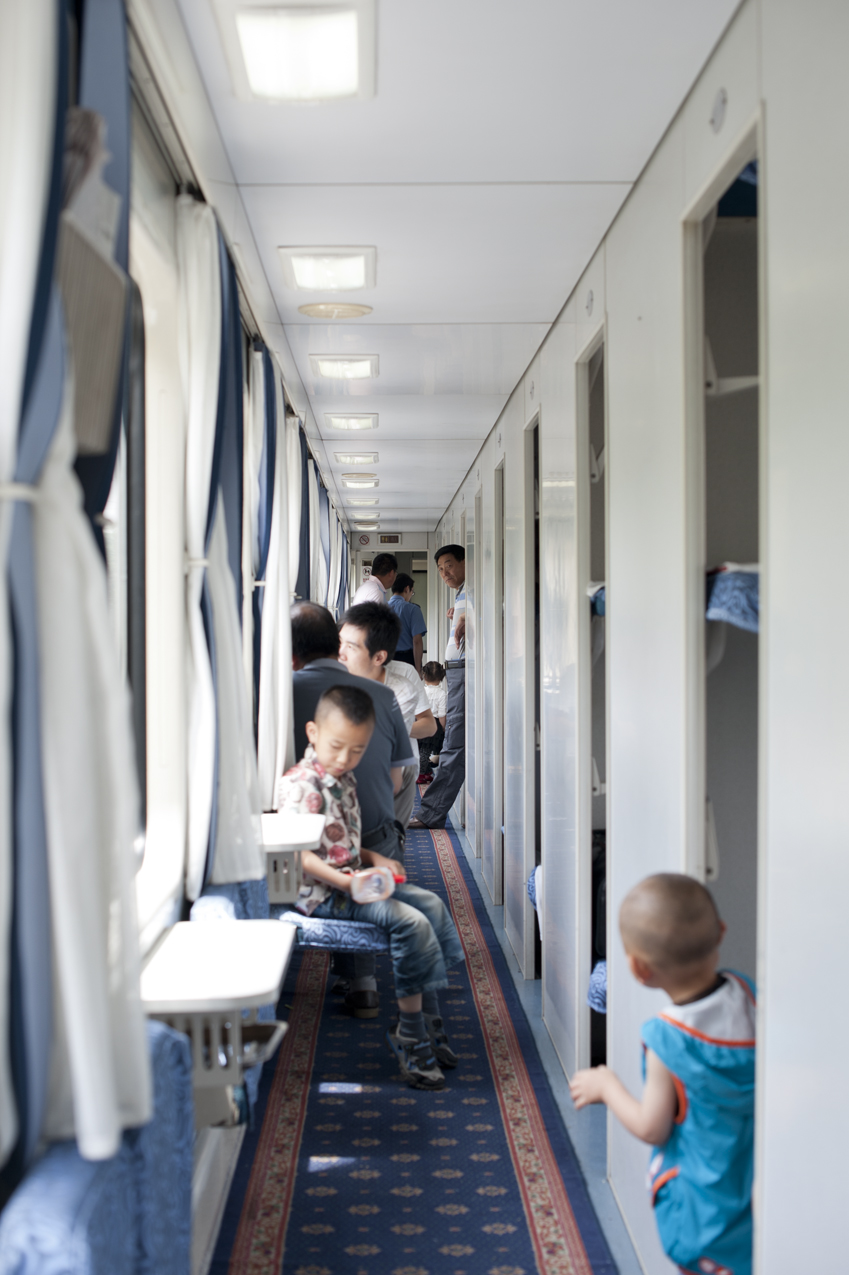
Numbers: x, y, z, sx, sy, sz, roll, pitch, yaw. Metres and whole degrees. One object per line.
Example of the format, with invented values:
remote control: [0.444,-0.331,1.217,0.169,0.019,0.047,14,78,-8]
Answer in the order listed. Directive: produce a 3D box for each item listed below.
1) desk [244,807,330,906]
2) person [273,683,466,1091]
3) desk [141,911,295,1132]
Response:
desk: [-0.448,0.782,3.008,0.198,0.354,0.608,1,-3,-10]
person: [-0.177,0.889,3.307,0.520,1.443,0.461,-6,1,27]
desk: [-0.421,0.845,1.831,0.293,0.431,0.598,1,-3,-9]
